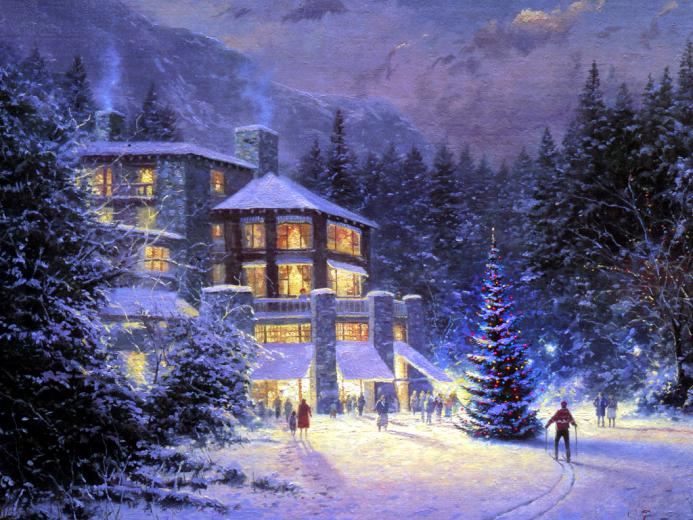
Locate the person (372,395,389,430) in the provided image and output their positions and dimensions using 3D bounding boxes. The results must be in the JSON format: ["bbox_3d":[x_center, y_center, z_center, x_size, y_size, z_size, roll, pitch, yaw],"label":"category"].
[{"bbox_3d":[1.658,7.091,43.601,0.490,1.576,1.453,2,-2,0],"label":"person"}]
